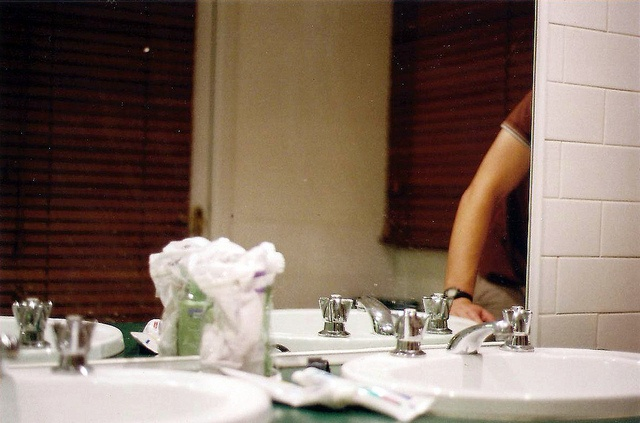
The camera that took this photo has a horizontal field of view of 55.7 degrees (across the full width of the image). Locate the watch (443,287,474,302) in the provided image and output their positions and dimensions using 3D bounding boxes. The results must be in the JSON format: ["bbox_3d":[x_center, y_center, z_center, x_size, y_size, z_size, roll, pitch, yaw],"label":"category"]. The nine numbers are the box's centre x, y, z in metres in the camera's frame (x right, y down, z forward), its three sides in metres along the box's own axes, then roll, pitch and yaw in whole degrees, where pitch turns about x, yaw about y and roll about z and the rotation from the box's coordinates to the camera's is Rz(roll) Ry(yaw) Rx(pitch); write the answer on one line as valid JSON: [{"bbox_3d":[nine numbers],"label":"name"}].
[{"bbox_3d":[0.343,0.207,1.508,0.043,0.015,0.041,14,-4,-25],"label":"watch"}]

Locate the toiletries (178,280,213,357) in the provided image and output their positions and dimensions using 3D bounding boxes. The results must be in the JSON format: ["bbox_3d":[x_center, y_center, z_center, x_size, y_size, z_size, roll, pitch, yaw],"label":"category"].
[{"bbox_3d":[-0.258,0.210,1.214,0.079,0.142,0.057,-2,1,-25],"label":"toiletries"}]

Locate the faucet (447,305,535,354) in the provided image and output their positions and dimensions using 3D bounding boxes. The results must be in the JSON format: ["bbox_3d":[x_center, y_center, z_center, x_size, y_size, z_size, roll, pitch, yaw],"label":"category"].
[{"bbox_3d":[0.387,0.263,1.332,0.223,0.105,0.082,4,-7,-25],"label":"faucet"}]

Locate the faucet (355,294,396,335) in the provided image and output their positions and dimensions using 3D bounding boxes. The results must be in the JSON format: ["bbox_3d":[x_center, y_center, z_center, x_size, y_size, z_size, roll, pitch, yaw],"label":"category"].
[{"bbox_3d":[0.138,0.236,1.443,0.101,0.083,0.083,-6,6,-11],"label":"faucet"}]
